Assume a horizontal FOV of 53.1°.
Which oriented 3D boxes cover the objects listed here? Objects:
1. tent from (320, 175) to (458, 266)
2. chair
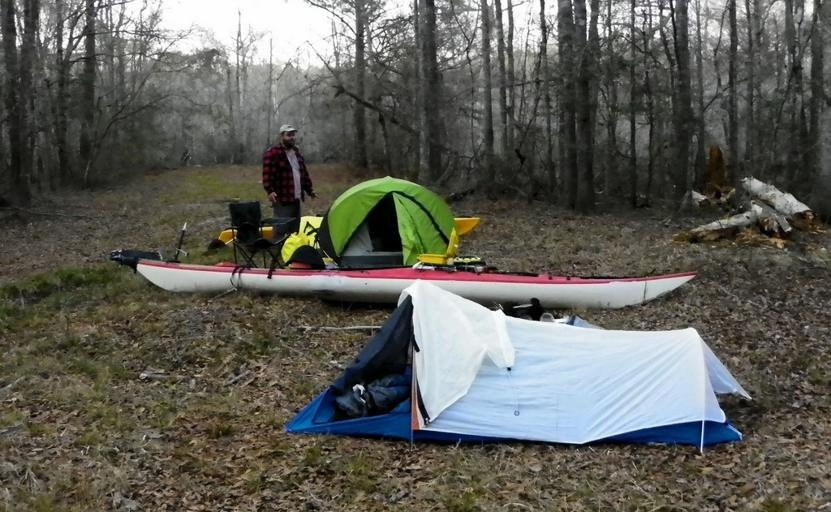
[{"bbox_3d":[-0.462,-0.977,19.301,2.534,1.435,2.180,-1,12,-6],"label":"tent"},{"bbox_3d":[-3.627,-0.398,19.491,1.586,1.921,1.632,-3,-2,-20],"label":"chair"}]
